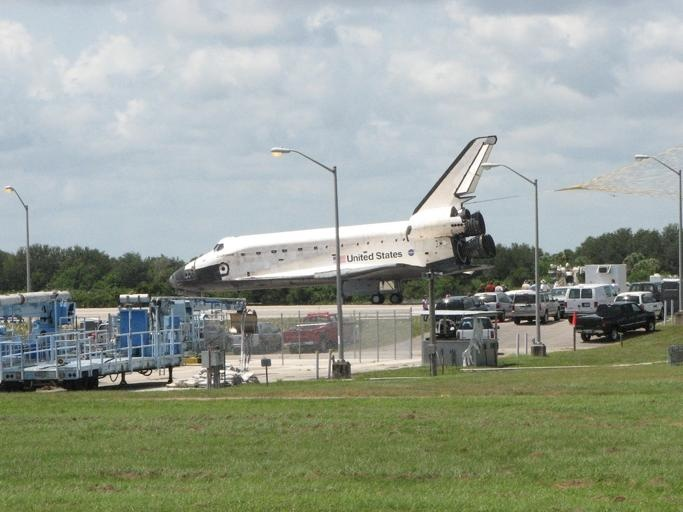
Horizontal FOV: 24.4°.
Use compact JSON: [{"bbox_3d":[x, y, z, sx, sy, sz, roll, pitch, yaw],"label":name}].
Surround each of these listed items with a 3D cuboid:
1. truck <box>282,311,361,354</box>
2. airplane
[{"bbox_3d":[-0.849,3.799,71.303,3.193,1.700,2.731,-8,1,20],"label":"truck"},{"bbox_3d":[0.473,-0.639,80.246,11.225,5.099,10.375,-2,0,22],"label":"airplane"}]
